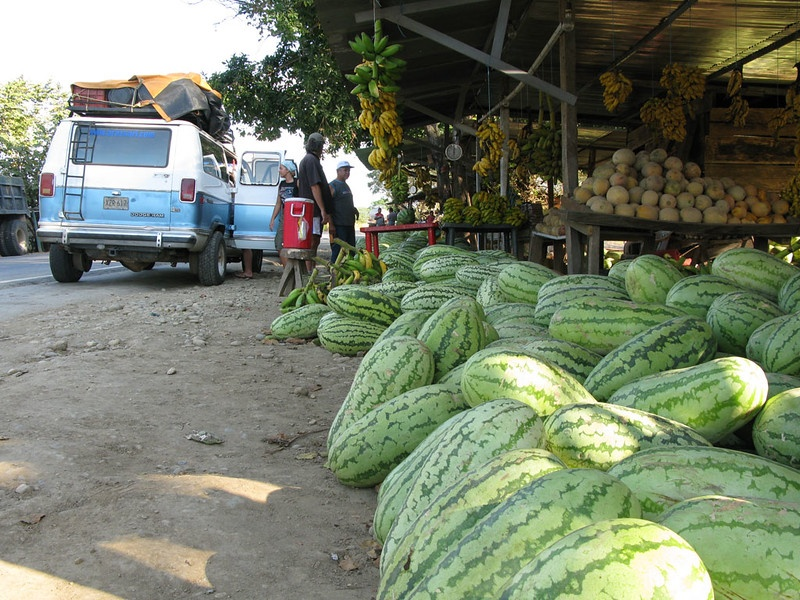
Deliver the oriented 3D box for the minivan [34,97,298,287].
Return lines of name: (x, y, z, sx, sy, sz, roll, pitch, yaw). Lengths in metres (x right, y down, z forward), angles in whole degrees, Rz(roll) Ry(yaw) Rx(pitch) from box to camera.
minivan: (-4.310, -1.619, 11.738, 2.909, 2.420, 5.408, 2, 5, 3)

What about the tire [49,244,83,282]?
tire: (-5.584, -0.615, 10.055, 0.231, 0.613, 0.632, -5, -3, 7)

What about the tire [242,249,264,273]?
tire: (-3.062, -0.782, 12.316, 0.200, 0.530, 0.547, -1, 3, 9)

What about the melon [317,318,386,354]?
melon: (-0.476, 0.331, 5.546, 0.522, 0.288, 0.303, 3, 5, -11)

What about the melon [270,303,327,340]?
melon: (-1.060, 0.253, 6.242, 0.595, 0.276, 0.280, -15, -2, -20)
